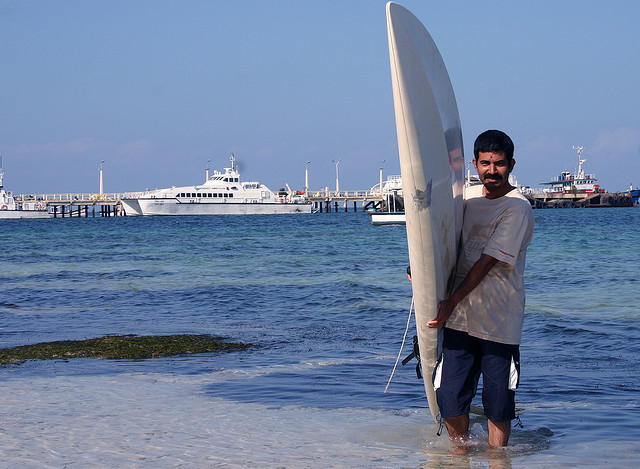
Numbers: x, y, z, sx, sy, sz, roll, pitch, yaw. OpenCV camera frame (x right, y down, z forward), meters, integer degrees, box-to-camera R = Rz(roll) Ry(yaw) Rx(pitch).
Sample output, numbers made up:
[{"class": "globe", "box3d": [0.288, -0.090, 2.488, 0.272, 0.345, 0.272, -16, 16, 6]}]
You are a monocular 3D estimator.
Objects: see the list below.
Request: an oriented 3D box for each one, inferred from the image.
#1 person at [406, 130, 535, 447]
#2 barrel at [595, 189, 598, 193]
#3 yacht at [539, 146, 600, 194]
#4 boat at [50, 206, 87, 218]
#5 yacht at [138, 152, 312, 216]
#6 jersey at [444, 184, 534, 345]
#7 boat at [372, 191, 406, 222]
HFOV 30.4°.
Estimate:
[{"class": "person", "box3d": [1.656, 0.578, 12.050, 1.043, 3.278, 0.459, -3, 2, 8]}, {"class": "barrel", "box3d": [24.685, -3.987, 106.366, 0.214, 0.292, 0.768, -2, 2, 14]}, {"class": "yacht", "box3d": [22.917, -5.657, 110.097, 2.867, 4.488, 9.060, -11, 6, -22]}, {"class": "boat", "box3d": [-19.509, -1.634, 91.369, 2.439, 0.426, 6.979, -3, 2, -14]}, {"class": "yacht", "box3d": [-6.350, -2.929, 83.019, 4.788, 3.352, 17.244, -2, 2, 27]}, {"class": "jersey", "box3d": [1.711, 0.342, 12.020, 0.850, 1.607, 0.364, -2, 3, 27]}, {"class": "boat", "box3d": [3.704, -1.556, 62.862, 2.184, 1.262, 3.563, -1, -3, 2]}]
